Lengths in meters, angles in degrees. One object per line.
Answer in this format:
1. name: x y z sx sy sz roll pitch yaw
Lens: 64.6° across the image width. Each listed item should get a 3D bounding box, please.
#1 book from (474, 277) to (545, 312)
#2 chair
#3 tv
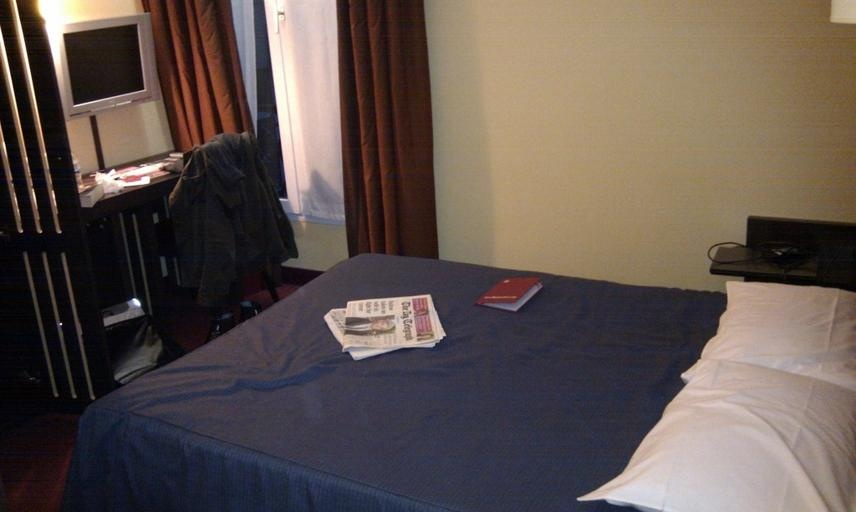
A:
1. book: 0.417 0.168 3.464 0.217 0.059 0.293 11 36 36
2. chair: -1.369 -0.155 4.387 0.712 1.219 0.996 8 20 11
3. tv: -2.081 -1.205 4.330 0.087 0.570 0.778 17 30 19
